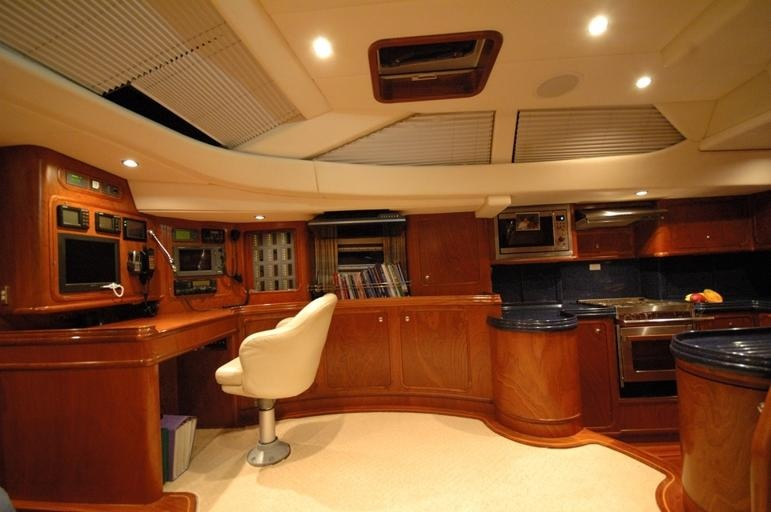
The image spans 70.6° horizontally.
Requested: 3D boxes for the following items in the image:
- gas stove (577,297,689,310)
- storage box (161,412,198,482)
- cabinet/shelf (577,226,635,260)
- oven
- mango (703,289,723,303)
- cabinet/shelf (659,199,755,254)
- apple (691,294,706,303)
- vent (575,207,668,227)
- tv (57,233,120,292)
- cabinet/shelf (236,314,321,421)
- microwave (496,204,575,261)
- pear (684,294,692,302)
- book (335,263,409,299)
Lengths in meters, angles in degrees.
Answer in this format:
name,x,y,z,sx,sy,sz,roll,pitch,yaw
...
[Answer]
name,x,y,z,sx,sy,sz,roll,pitch,yaw
gas stove,2.590,0.488,5.617,1.069,0.115,0.661,-3,-1,1
storage box,-1.708,1.590,4.511,0.280,0.418,0.470,-1,-1,-32
cabinet/shelf,2.388,-0.149,5.894,0.668,0.335,0.409,-2,3,7
oven,2.665,0.985,5.334,0.786,0.727,0.526,-6,-16,13
mango,3.274,0.402,5.440,0.166,0.138,0.255,-4,-2,27
cabinet/shelf,3.336,-0.350,5.916,1.101,0.604,0.605,-4,3,-5
apple,3.081,0.415,5.339,0.110,0.091,0.088,-4,-2,26
vent,2.439,-0.405,5.687,0.916,0.196,0.335,-3,-1,5
tv,-2.426,0.050,4.416,0.057,0.478,0.509,-4,1,23
cabinet/shelf,-0.903,0.879,4.486,0.752,0.638,0.767,2,-7,3
microwave,1.547,-0.245,5.628,0.929,0.564,0.535,-1,-5,5
pear,3.109,0.423,5.580,0.085,0.040,0.117,-24,-4,12
book,-0.128,0.252,5.521,0.744,0.273,0.246,-3,-1,-3
